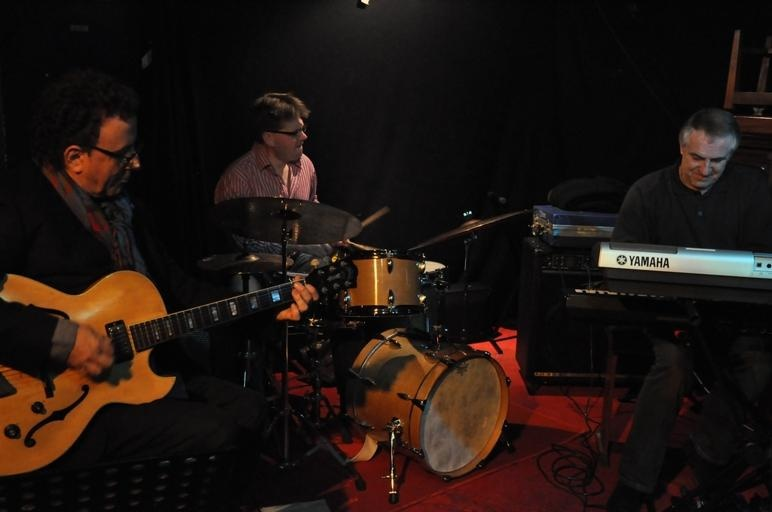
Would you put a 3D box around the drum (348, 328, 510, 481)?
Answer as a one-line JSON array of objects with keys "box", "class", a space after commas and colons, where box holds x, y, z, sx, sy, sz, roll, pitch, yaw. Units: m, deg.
[{"box": [0.253, 0.950, 4.009, 1.022, 0.871, 0.530, 4, 11, 9], "class": "drum"}]

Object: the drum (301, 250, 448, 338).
[{"box": [-0.040, 0.217, 4.114, 0.701, 0.324, 0.503, 1, -3, -12], "class": "drum"}]

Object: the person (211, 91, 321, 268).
[{"box": [-0.946, -0.636, 5.497, 1.109, 1.468, 0.937, -19, 38, -35], "class": "person"}]
